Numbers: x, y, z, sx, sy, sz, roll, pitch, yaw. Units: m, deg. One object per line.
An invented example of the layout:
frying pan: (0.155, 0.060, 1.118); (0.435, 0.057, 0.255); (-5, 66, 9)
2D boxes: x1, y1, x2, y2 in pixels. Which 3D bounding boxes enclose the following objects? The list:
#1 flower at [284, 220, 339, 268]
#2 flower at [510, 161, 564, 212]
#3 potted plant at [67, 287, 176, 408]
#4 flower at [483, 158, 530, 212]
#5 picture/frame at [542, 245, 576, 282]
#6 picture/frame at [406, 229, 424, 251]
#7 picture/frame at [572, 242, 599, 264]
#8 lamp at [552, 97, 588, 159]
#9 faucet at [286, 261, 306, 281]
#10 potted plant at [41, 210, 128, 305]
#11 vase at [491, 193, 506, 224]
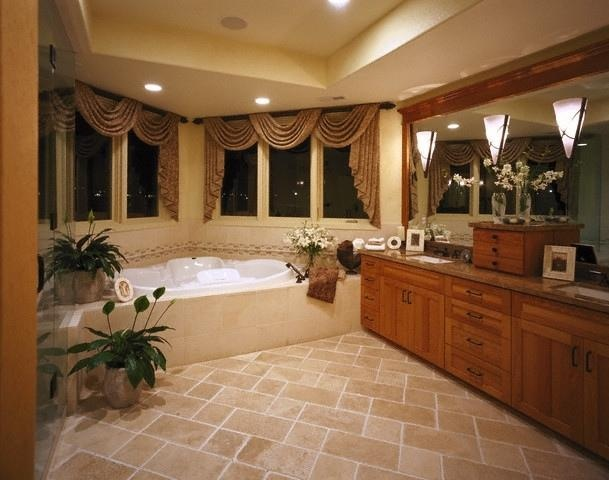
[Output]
flower: (0.054, 0.059, 4.978); (0.570, 0.489, 0.700); (-10, 17, -37)
flower: (1.871, -0.446, 3.500); (0.333, 0.418, 0.360); (-8, 13, -36)
potted plant: (-1.393, 0.775, 3.318); (0.738, 0.903, 0.815); (0, -3, 16)
flower: (1.769, -0.495, 3.810); (0.322, 0.505, 0.395); (-5, 2, 17)
picture/frame: (1.882, 0.176, 3.140); (0.028, 0.341, 0.225); (3, -2, -41)
picture/frame: (1.146, 0.002, 4.413); (0.187, 0.289, 0.021); (1, -6, 32)
picture/frame: (2.068, 0.101, 3.130); (0.047, 0.118, 0.122); (-18, 17, -32)
lamp: (2.032, -0.874, 3.300); (0.237, 0.452, 0.105); (12, 17, 43)
faucet: (-0.063, 0.344, 4.472); (0.180, 0.150, 0.329); (-5, 15, -22)
potted plant: (-1.879, 0.145, 3.647); (0.507, 0.739, 0.535); (1, 8, -29)
vase: (1.680, -0.288, 3.682); (0.110, 0.247, 0.289); (5, 14, 19)
